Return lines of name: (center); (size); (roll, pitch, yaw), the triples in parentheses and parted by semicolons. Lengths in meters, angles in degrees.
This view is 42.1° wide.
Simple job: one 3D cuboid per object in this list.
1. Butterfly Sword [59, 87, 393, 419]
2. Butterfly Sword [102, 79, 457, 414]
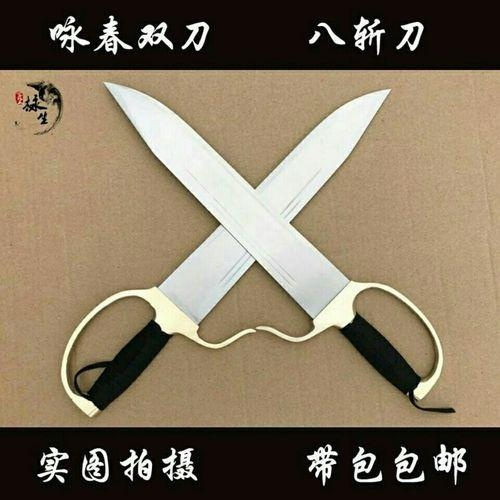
Butterfly Sword: (-0.061, 0.038, 1.389); (0.155, 0.060, 0.868); (41, 87, 1)
Butterfly Sword: (0.046, 0.025, 1.391); (0.153, 0.064, 0.865); (-41, 92, -6)
